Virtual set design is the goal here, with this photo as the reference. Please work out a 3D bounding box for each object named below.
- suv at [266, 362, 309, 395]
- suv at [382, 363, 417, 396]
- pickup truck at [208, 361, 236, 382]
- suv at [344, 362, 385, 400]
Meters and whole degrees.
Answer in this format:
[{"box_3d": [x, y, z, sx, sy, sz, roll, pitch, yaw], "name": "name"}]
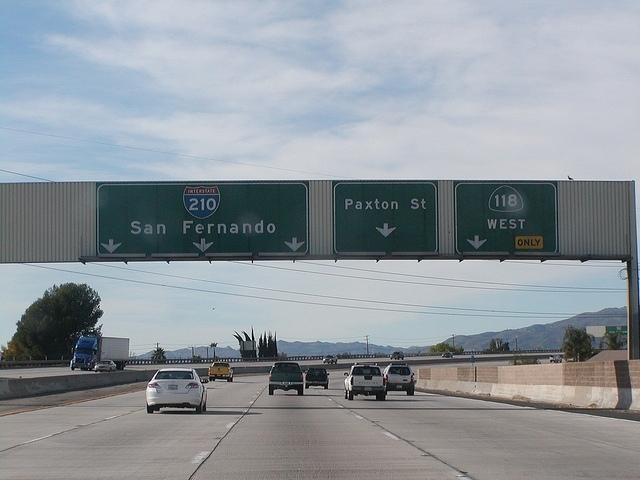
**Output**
[{"box_3d": [-1.807, 7.760, 61.278, 1.820, 1.835, 2.867, -1, -6, 1], "name": "suv"}, {"box_3d": [4.408, 7.515, 60.277, 1.264, 1.173, 2.273, 0, 2, -1], "name": "suv"}, {"box_3d": [-8.107, 11.032, 91.753, 1.318, 1.101, 2.669, 1, -3, 0], "name": "pickup truck"}, {"box_3d": [2.269, 7.007, 53.636, 1.814, 1.749, 1.563, -1, -5, 1], "name": "suv"}]
